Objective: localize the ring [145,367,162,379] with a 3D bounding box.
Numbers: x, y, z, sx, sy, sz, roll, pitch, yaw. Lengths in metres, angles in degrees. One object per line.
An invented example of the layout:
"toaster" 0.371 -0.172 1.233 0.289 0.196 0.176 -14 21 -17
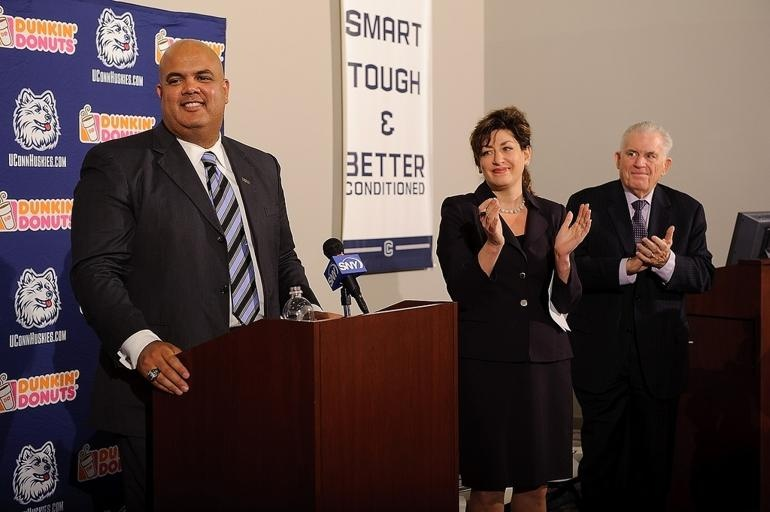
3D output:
"ring" -0.736 0.375 1.944 0.024 0.041 0.036 43 40 24

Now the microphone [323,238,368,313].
"microphone" -0.150 0.070 2.182 0.110 0.372 0.083 -16 -16 -10

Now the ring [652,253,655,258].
"ring" 1.424 -0.006 3.242 0.011 0.023 0.012 3 -12 1

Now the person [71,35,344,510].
"person" -0.717 0.047 2.312 0.840 1.771 0.705 -3 7 -31
